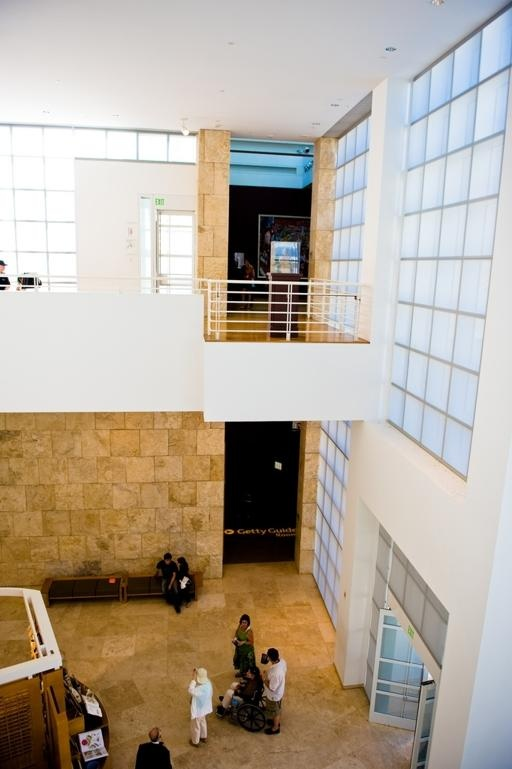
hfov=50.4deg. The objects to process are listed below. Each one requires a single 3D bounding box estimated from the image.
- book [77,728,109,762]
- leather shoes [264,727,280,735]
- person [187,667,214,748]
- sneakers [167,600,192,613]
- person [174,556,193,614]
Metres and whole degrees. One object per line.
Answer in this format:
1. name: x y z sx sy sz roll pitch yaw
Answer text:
1. book: -2.133 4.785 7.116 0.318 0.366 0.440 -3 7 -34
2. leather shoes: 0.242 5.266 8.286 0.183 0.083 0.096 9 9 4
3. person: -0.810 4.588 7.908 0.292 1.358 0.711 0 6 -6
4. sneakers: -1.662 4.801 11.790 0.400 0.243 0.107 20 24 25
5. person: -1.545 4.285 11.854 0.417 1.132 0.551 0 6 -7
